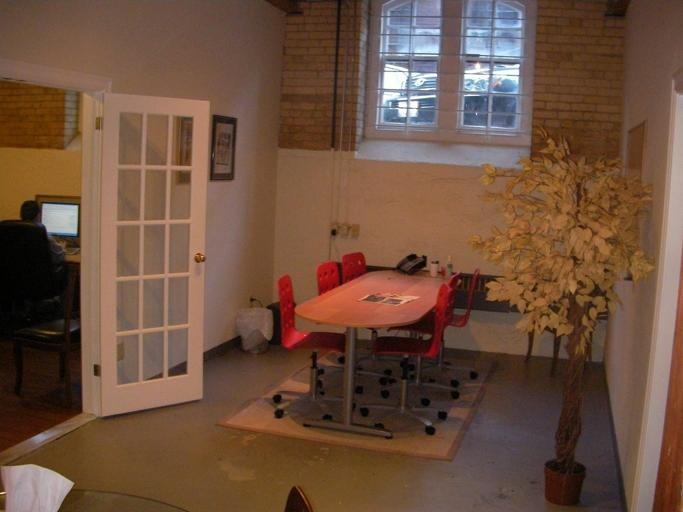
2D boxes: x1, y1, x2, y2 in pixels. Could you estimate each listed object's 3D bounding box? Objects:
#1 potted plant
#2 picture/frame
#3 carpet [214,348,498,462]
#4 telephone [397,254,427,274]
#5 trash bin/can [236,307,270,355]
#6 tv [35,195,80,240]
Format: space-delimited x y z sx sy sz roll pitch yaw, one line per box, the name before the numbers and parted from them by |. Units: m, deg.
potted plant | 1.521 0.336 3.893 0.946 2.235 2.464 6 9 22
picture/frame | -1.244 -0.965 4.962 0.039 0.615 0.853 7 8 23
carpet | 0.227 1.244 4.823 2.004 0.090 1.735 4 9 14
telephone | 0.768 0.032 5.961 0.264 0.123 0.209 -34 29 -28
trash bin/can | -0.943 0.843 6.280 0.523 0.593 0.412 1 -6 -6
tv | -3.215 -0.413 6.253 0.539 0.531 0.064 3 4 13
